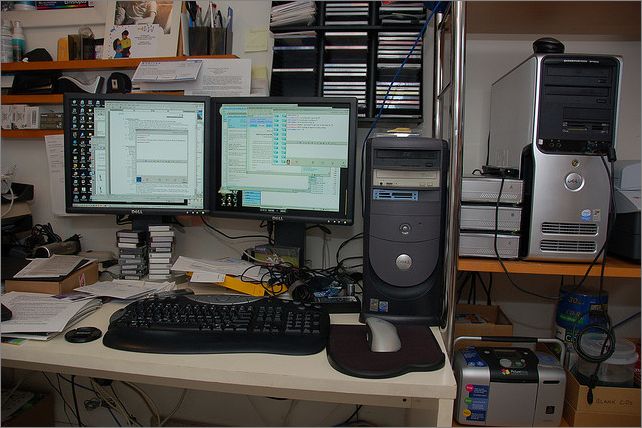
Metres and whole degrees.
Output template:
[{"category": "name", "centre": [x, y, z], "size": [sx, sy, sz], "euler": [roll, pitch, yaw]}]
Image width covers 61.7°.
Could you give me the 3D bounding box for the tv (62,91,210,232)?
[{"category": "tv", "centre": [-0.771, -0.238, 2.232], "size": [0.691, 0.529, 0.233], "euler": [1, 1, 1]}]

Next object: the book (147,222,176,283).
[{"category": "book", "centre": [-0.667, 0.175, 2.279], "size": [0.071, 0.210, 0.163], "euler": [0, 1, -4]}]

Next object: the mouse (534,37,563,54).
[{"category": "mouse", "centre": [0.842, -0.615, 1.996], "size": [0.099, 0.054, 0.090], "euler": [5, 11, 15]}]

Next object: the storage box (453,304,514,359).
[{"category": "storage box", "centre": [0.661, 0.451, 2.177], "size": [0.231, 0.130, 0.218], "euler": [0, 3, 1]}]

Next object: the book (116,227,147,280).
[{"category": "book", "centre": [-0.806, 0.174, 2.278], "size": [0.121, 0.202, 0.074], "euler": [-4, 10, -18]}]

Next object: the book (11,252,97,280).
[{"category": "book", "centre": [-1.079, 0.213, 2.163], "size": [0.241, 0.052, 0.214], "euler": [0, 9, 2]}]
